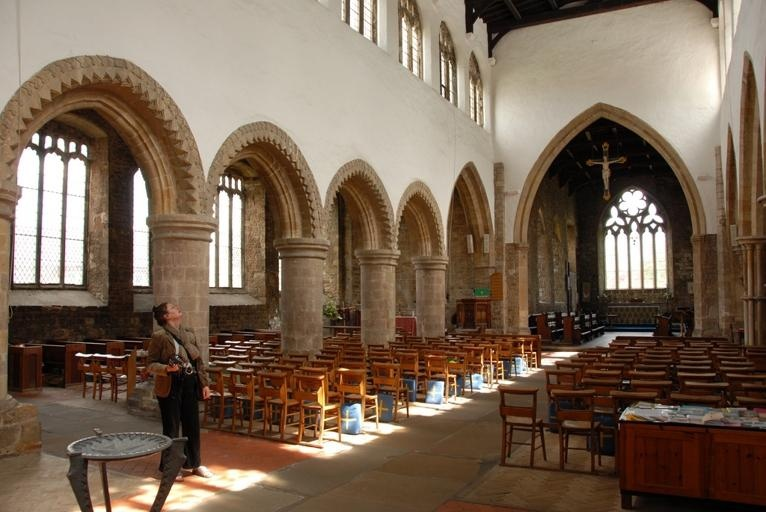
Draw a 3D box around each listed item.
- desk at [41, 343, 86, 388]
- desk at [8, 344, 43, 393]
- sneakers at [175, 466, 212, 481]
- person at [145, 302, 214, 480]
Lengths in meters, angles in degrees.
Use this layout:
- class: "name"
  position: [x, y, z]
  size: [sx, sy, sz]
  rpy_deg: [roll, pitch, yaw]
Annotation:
- class: "desk"
  position: [-8.791, 2.973, 17.872]
  size: [1.588, 0.914, 0.581]
  rpy_deg: [-11, -5, 35]
- class: "desk"
  position: [-8.989, 2.793, 16.531]
  size: [0.874, 1.133, 0.437]
  rpy_deg: [-1, -6, 1]
- class: "sneakers"
  position: [-3.035, 3.464, 10.631]
  size: [0.603, 0.230, 0.223]
  rpy_deg: [-3, -6, 0]
- class: "person"
  position: [-3.213, 2.119, 10.457]
  size: [0.894, 2.781, 0.888]
  rpy_deg: [-1, -6, -4]
